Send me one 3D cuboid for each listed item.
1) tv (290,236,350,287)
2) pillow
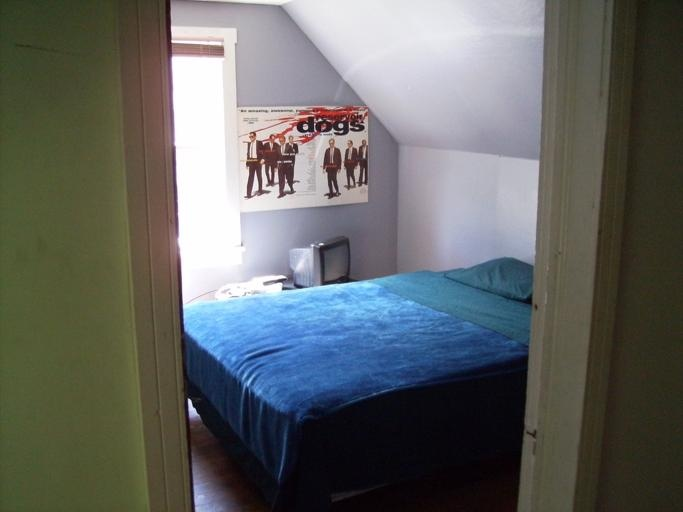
[{"bbox_3d":[-0.205,0.017,5.203,0.422,0.427,0.584,13,18,42],"label":"tv"},{"bbox_3d":[1.182,0.155,4.185,0.486,0.145,0.416,-3,9,-41],"label":"pillow"}]
